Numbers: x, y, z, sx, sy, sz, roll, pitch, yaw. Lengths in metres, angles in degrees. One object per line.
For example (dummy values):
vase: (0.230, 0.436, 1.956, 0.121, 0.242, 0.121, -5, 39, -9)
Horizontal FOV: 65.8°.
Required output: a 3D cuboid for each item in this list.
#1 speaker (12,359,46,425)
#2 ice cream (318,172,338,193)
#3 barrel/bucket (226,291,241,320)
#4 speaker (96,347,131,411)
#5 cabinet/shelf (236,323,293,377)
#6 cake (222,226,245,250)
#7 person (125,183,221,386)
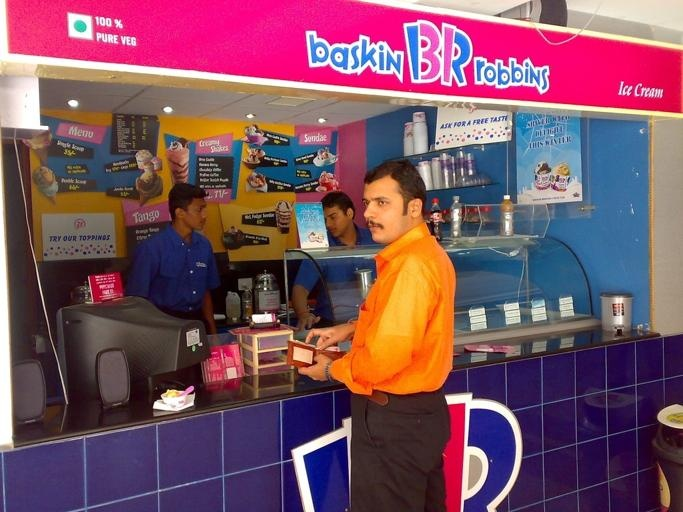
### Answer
speaker: (-1.301, 0.563, 2.188, 0.108, 0.251, 0.106, -4, 15, -23)
ice cream: (-0.179, -0.951, 6.817, 0.266, 0.235, 0.137, 2, 9, -7)
barrel/bucket: (-1.122, 0.519, 5.470, 0.142, 0.253, 0.371, 0, 13, -11)
speaker: (-1.020, 0.541, 2.347, 0.134, 0.256, 0.103, -5, 15, -26)
cabinet/shelf: (-0.396, 0.518, 2.815, 0.326, 0.223, 0.276, -3, 0, -30)
cake: (-1.248, -0.224, 6.265, 0.271, 0.242, 0.075, 3, 1, -32)
person: (-1.556, 0.055, 4.898, 0.838, 1.929, 0.716, 0, 11, -41)
